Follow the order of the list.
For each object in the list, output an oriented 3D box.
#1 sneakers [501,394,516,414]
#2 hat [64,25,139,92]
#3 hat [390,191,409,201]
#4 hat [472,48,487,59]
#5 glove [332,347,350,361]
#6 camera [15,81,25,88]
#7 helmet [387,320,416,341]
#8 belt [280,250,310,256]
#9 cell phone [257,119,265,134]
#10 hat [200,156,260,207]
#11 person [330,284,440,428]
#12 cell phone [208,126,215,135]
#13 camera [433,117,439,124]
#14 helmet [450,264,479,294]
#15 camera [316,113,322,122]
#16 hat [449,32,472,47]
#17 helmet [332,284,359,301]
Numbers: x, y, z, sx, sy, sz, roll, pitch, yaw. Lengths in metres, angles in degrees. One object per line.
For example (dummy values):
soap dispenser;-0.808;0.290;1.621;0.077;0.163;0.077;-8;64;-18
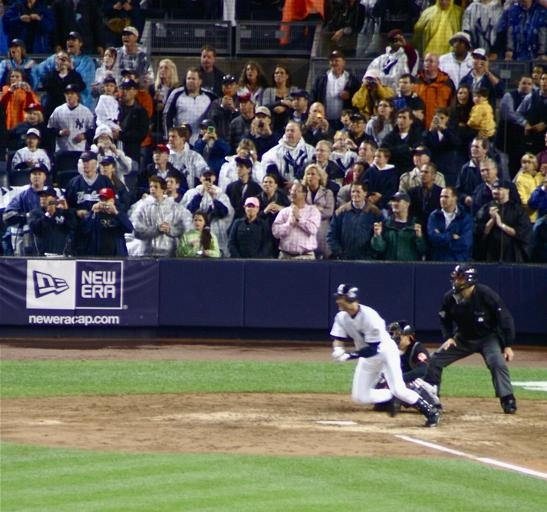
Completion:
sneakers;3.006;1.920;21.048;0.164;0.240;0.237;-8;-9;-5
hat;-3.023;-3.188;27.376;0.997;0.958;0.913;5;13;19
hat;1.925;-0.872;24.804;0.274;0.119;0.184;-7;14;-33
hat;3.308;-3.202;26.090;0.191;0.094;0.280;11;-1;30
glove;0.856;1.252;20.657;0.206;0.207;0.332;1;12;0
camera;-4.133;-2.795;26.951;0.185;0.095;0.125;-3;13;-18
helmet;1.654;0.952;21.054;0.301;0.208;0.259;3;7;-1
belt;0.345;-0.020;25.470;0.455;0.096;0.063;0;12;-2
cell phone;-0.170;-2.014;25.812;0.117;0.155;0.138;3;6;2
hat;-0.637;-1.105;25.296;0.772;1.142;0.381;0;-2;12
person;1.346;1.299;20.777;1.197;1.939;0.909;-8;7;16
cell phone;-0.964;-1.967;25.926;0.111;0.109;0.030;0;9;-17
camera;2.509;-2.060;25.358;0.072;0.073;0.033;5;4;-10
helmet;2.460;0.284;21.208;0.396;0.400;0.296;5;-4;-38
camera;0.718;-2.164;25.886;0.082;0.123;0.037;0;-13;1
hat;3.033;-3.500;26.754;0.323;0.233;0.504;1;12;4
helmet;0.910;0.495;20.575;0.270;0.144;0.184;13;4;-5
